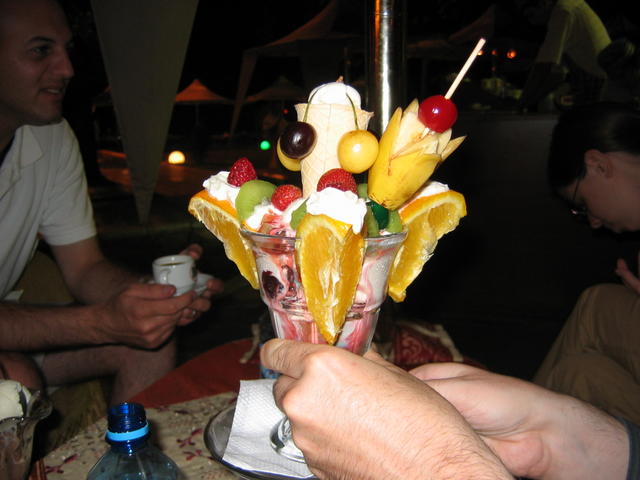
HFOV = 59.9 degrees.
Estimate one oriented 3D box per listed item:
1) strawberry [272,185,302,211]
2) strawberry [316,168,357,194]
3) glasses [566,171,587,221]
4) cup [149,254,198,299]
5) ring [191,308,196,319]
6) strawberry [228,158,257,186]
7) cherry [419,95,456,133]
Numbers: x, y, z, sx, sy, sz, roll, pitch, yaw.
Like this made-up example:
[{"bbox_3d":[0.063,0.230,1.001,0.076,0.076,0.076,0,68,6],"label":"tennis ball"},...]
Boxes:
[{"bbox_3d":[-0.083,-0.119,1.538,0.103,0.060,0.076,-10,25,-36],"label":"strawberry"},{"bbox_3d":[0.051,-0.150,1.470,0.110,0.063,0.147,3,20,-4],"label":"strawberry"},{"bbox_3d":[1.427,-0.227,3.075,0.055,0.188,0.177,-20,-22,34],"label":"glasses"},{"bbox_3d":[-0.589,0.141,2.257,0.128,0.136,0.199,1,15,1],"label":"cup"},{"bbox_3d":[-0.522,0.304,2.301,0.009,0.030,0.022,2,3,30],"label":"ring"},{"bbox_3d":[-0.220,-0.188,1.636,0.073,0.088,0.078,6,42,-25],"label":"strawberry"},{"bbox_3d":[0.322,-0.338,1.495,0.096,0.107,0.096,4,4,8],"label":"cherry"}]
